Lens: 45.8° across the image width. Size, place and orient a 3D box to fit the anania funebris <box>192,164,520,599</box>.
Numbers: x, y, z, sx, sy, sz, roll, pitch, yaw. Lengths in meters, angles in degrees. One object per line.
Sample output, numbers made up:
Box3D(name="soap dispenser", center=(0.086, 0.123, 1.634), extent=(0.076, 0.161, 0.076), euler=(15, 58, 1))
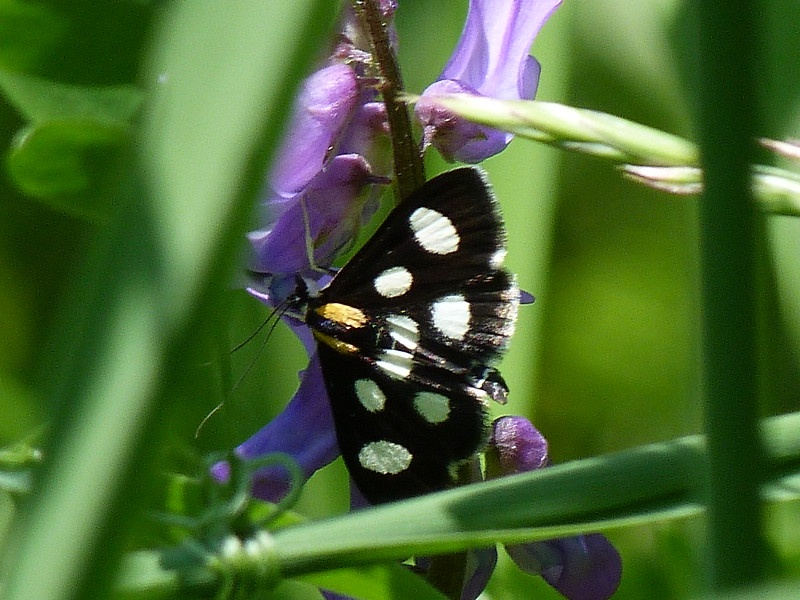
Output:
Box3D(name="anania funebris", center=(-0.007, 0.036, 0.804), extent=(0.217, 0.308, 0.095), euler=(14, 27, 11))
